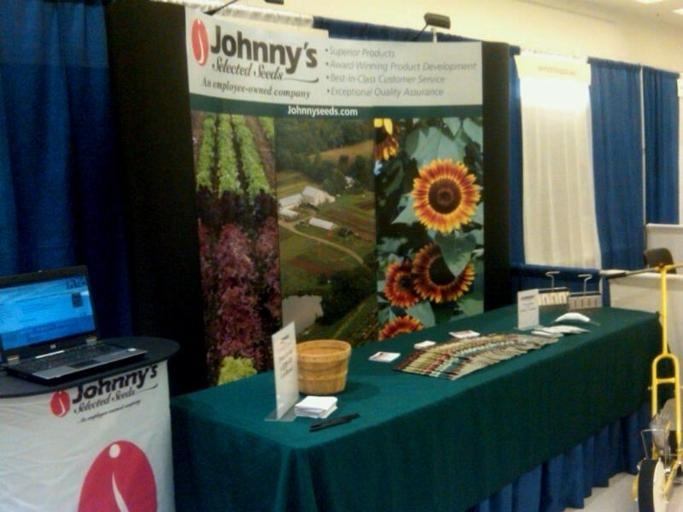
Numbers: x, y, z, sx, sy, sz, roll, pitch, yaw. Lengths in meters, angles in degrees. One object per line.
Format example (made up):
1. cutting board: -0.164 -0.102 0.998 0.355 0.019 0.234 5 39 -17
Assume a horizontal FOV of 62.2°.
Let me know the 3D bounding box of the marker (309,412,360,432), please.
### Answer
1. marker: -0.027 0.651 2.291 0.216 0.033 0.063 -6 11 -35

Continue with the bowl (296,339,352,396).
1. bowl: -0.083 0.513 2.615 0.266 0.193 0.267 -3 5 0
